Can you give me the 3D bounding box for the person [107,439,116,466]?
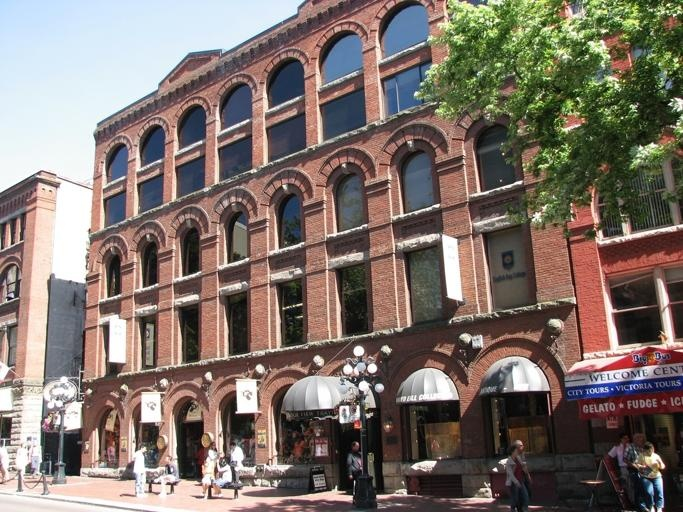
[{"bbox_3d":[-13.115,11.205,34.958,0.790,1.361,0.188,-20,-23,38],"label":"person"}]
